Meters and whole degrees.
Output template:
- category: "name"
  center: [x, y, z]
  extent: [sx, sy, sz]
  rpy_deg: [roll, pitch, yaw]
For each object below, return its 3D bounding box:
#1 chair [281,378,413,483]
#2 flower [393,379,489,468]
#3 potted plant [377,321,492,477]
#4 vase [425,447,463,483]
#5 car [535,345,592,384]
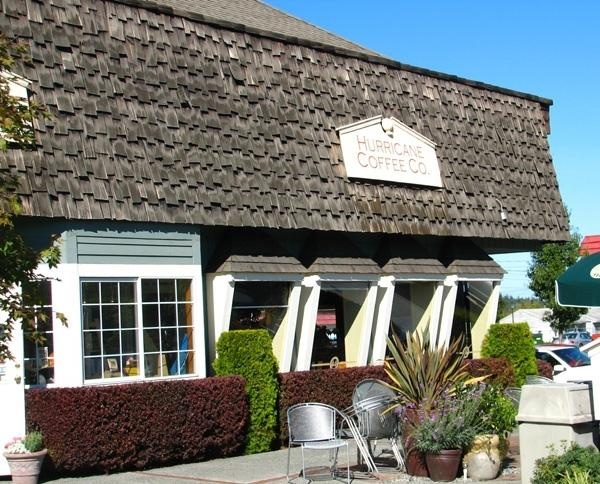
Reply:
- category: "chair"
  center: [0.776, 3.204, 11.313]
  extent: [1.720, 1.382, 0.771]
  rpy_deg: [0, -2, -36]
- category: "flower"
  center: [2.190, 2.765, 10.466]
  extent: [1.253, 0.906, 0.728]
  rpy_deg: [-4, -5, 8]
- category: "potted plant"
  center: [2.036, 2.587, 11.439]
  extent: [1.860, 2.378, 1.971]
  rpy_deg: [2, -11, -1]
- category: "vase"
  center: [2.131, 3.330, 10.187]
  extent: [0.408, 0.377, 0.460]
  rpy_deg: [0, -12, 6]
- category: "car"
  center: [7.727, 3.554, 19.822]
  extent: [1.154, 0.844, 1.786]
  rpy_deg: [-3, -5, -12]
